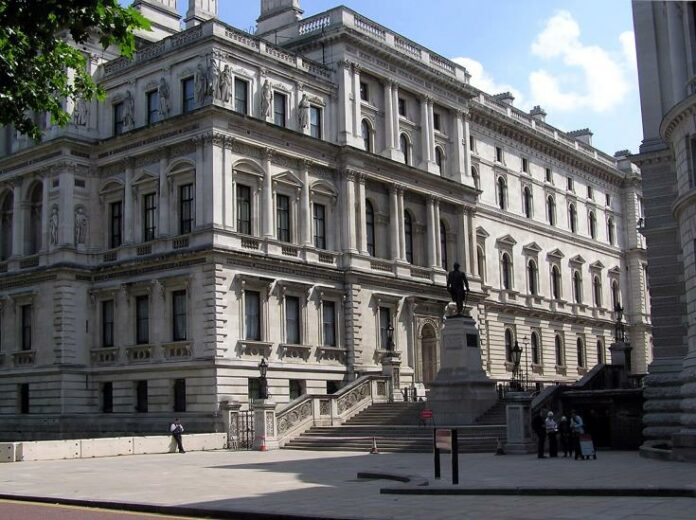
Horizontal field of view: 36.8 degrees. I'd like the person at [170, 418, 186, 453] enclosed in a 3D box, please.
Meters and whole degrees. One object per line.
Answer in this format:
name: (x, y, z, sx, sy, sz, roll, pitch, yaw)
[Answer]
person: (-7.861, 8.286, 48.799, 0.694, 1.479, 1.070, 5, 11, -9)
